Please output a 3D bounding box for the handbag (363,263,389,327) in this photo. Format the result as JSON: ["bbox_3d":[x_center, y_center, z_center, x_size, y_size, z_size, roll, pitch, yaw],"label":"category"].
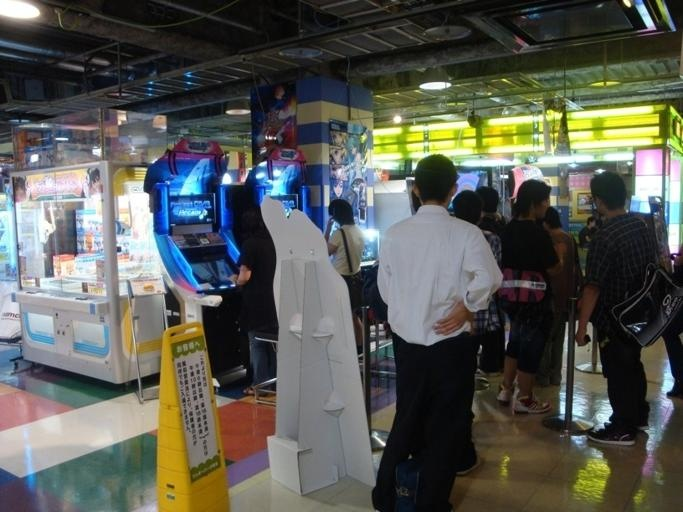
[{"bbox_3d":[0.227,0.245,3.702,0.252,0.314,0.328,0,3,8],"label":"handbag"}]

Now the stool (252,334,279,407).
[{"bbox_3d":[-0.779,1.078,5.509,0.256,0.697,0.548,-2,7,-9],"label":"stool"}]

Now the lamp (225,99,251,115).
[{"bbox_3d":[-1.562,-2.313,8.665,0.467,0.224,0.459,-7,10,-39],"label":"lamp"}]

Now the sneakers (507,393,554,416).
[{"bbox_3d":[1.661,1.323,4.904,0.324,0.149,0.142,0,1,-8],"label":"sneakers"}]

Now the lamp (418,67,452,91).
[{"bbox_3d":[1.179,-2.192,6.957,0.349,0.373,0.358,2,5,33],"label":"lamp"}]

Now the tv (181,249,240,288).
[{"bbox_3d":[-1.348,0.121,5.896,0.302,0.421,0.642,3,8,29],"label":"tv"}]

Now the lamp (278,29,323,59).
[{"bbox_3d":[-0.481,-2.438,6.596,0.521,0.147,0.997,-1,7,-2],"label":"lamp"}]
